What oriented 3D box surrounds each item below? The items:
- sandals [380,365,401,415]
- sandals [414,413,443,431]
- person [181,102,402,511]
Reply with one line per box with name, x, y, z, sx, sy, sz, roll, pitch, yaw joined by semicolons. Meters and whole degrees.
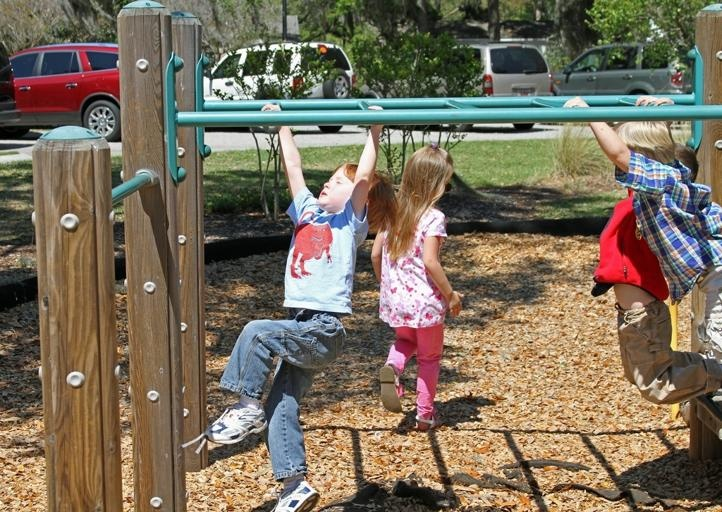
sandals;0.170;0.724;5.928;0.114;0.248;0.115;-6;11;16
sandals;0.368;0.942;6.119;0.178;0.065;0.062;1;-6;-36
person;-0.233;0.262;5.277;0.720;1.932;1.077;1;16;18
